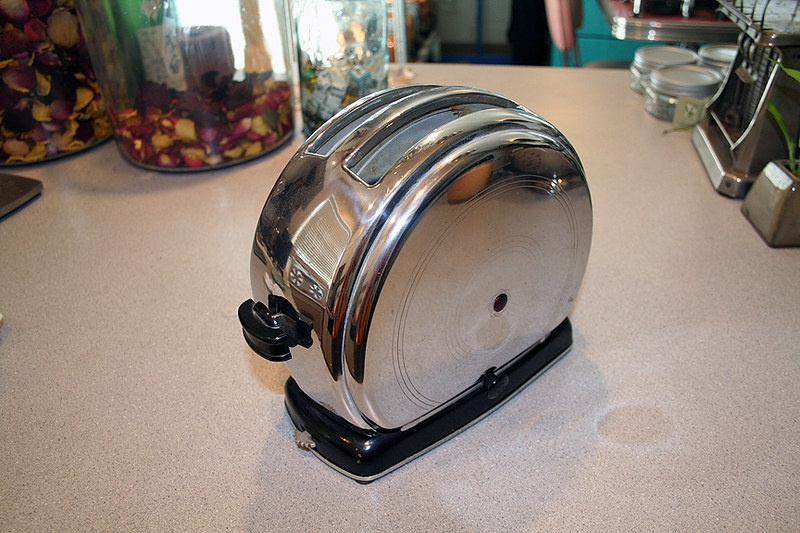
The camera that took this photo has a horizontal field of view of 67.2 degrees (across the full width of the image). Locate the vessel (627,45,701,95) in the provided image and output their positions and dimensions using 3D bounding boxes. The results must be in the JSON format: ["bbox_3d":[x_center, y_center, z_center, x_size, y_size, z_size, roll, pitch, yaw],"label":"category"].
[{"bbox_3d":[0.478,-0.377,1.088,0.095,0.060,0.097,-2,35,6],"label":"vessel"}]

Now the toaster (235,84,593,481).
[{"bbox_3d":[0.022,0.038,0.608,0.344,0.304,0.177,-29,41,-27],"label":"toaster"}]

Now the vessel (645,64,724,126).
[{"bbox_3d":[0.489,-0.295,1.041,0.111,0.086,0.084,6,31,12],"label":"vessel"}]
